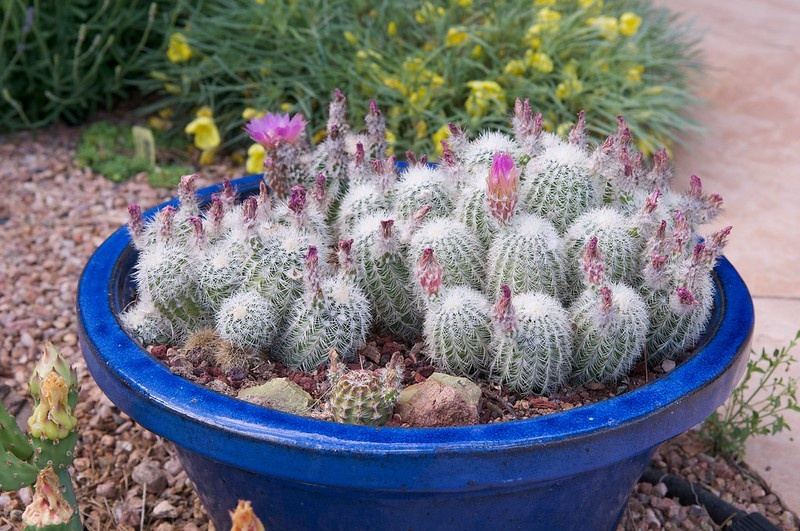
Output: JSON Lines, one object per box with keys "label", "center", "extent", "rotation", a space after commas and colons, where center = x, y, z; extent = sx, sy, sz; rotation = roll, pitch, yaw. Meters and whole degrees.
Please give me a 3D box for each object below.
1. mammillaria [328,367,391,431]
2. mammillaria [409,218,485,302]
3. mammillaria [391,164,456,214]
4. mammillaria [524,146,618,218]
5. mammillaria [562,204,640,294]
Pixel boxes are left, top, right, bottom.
{"label": "mammillaria", "center": [-0.108, 0.368, 2.193], "extent": [0.147, 0.159, 0.152], "rotation": [1, 8, -5]}
{"label": "mammillaria", "center": [0.139, -0.048, 2.381], "extent": [0.205, 0.227, 0.213], "rotation": [-10, 28, -3]}
{"label": "mammillaria", "center": [0.077, -0.240, 2.459], "extent": [0.156, 0.169, 0.160], "rotation": [-2, 6, -6]}
{"label": "mammillaria", "center": [0.512, -0.250, 2.365], "extent": [0.222, 0.240, 0.229], "rotation": [2, 15, -3]}
{"label": "mammillaria", "center": [0.581, -0.083, 2.403], "extent": [0.237, 0.258, 0.241], "rotation": [-9, 33, -3]}
